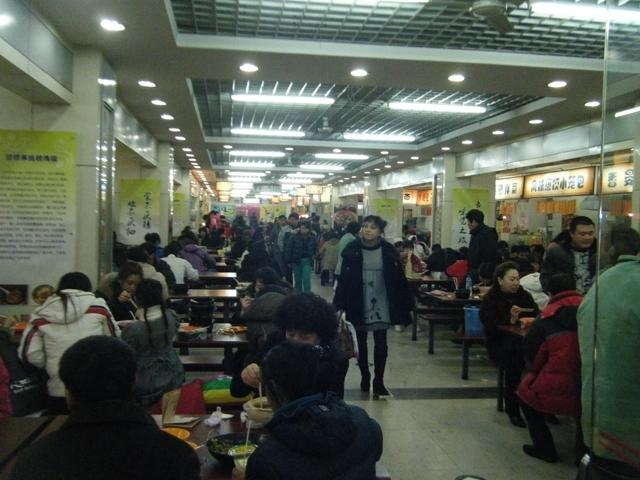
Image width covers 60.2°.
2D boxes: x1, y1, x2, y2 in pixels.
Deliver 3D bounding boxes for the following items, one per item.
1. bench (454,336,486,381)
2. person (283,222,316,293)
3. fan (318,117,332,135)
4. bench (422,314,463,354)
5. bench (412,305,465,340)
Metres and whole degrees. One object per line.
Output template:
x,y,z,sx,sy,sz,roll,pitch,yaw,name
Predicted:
1.829,1.410,6.643,0.523,0.499,0.452,0,-2,-4,bench
-0.415,0.288,10.936,0.694,1.407,0.622,6,7,25,person
0.121,-2.117,10.092,0.333,0.313,0.324,-1,6,-8,fan
1.633,1.236,7.641,0.635,0.299,0.507,0,-3,-6,bench
1.822,1.206,8.195,0.667,0.318,0.949,0,-24,11,bench
